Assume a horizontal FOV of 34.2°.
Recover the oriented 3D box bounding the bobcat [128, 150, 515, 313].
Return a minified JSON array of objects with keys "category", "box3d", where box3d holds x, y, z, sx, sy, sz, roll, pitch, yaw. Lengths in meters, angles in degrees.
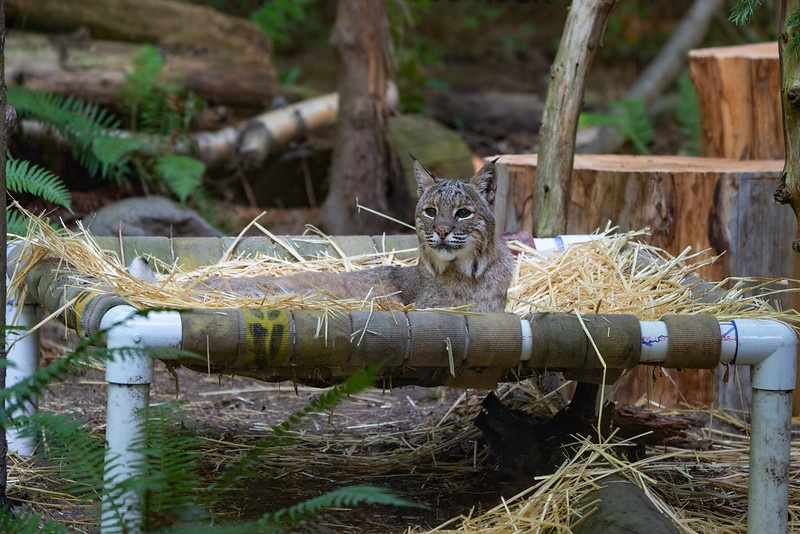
[{"category":"bobcat","box3d":[-0.238,-0.165,8.778,2.949,0.921,1.383,-6,91,-15]}]
